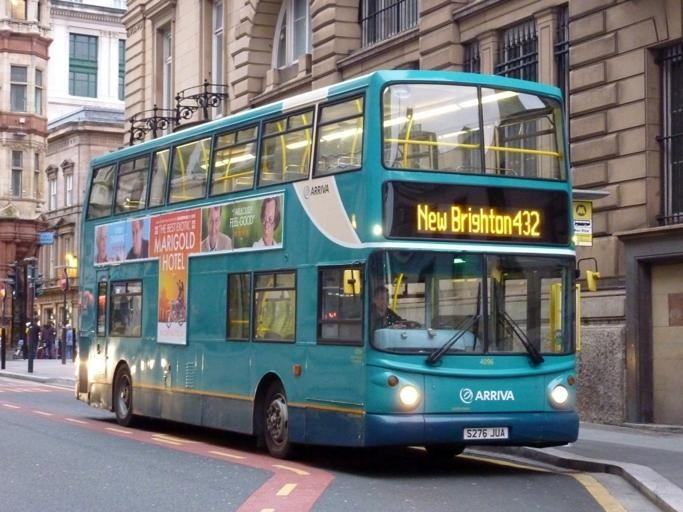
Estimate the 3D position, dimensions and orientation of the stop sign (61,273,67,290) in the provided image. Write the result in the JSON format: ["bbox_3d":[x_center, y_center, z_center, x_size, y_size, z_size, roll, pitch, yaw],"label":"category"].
[{"bbox_3d":[-15.842,1.433,50.326,0.179,1.503,0.985,-1,1,-27],"label":"stop sign"}]
